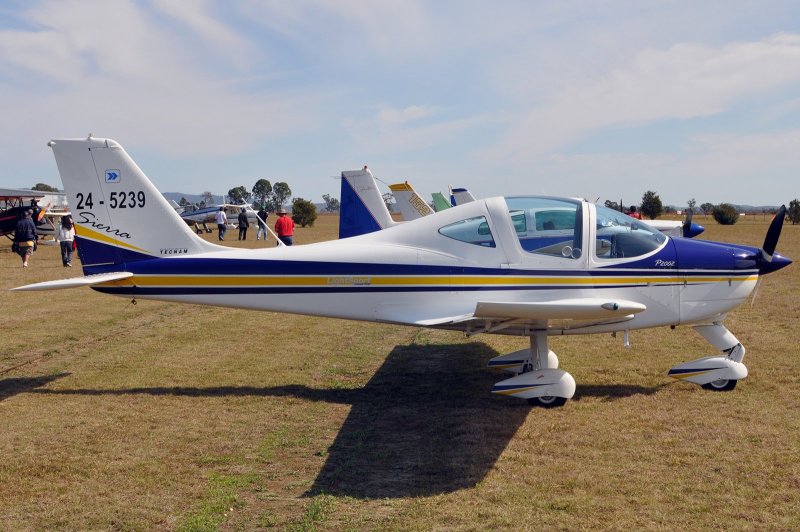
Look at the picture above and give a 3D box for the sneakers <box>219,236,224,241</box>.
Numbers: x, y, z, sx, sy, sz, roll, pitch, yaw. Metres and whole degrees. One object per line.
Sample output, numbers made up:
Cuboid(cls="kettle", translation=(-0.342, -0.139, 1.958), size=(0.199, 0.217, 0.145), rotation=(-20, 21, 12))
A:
Cuboid(cls="sneakers", translation=(-10.086, -1.528, 35.934), size=(0.367, 0.103, 0.389), rotation=(-10, 12, -14))
